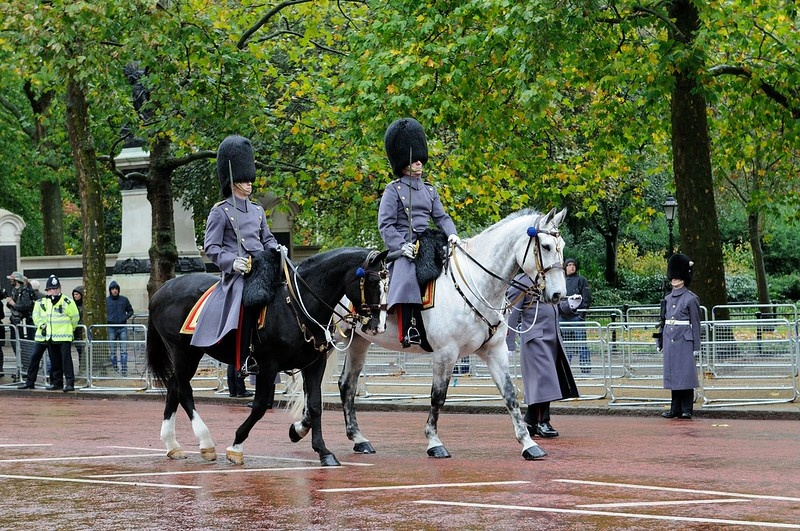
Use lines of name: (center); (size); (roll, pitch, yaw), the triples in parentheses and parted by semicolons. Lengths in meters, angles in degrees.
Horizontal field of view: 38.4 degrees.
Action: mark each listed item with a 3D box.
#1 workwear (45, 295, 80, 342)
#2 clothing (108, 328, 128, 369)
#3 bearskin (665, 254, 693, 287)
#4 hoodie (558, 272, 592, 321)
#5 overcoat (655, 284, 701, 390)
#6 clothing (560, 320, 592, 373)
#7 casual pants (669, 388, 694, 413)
workwear: (-8.566, 1.383, 29.212); (1.221, 1.317, 0.851); (1, -9, -5)
clothing: (-7.115, 2.150, 29.361); (0.552, 1.280, 0.379); (2, -2, 26)
bearskin: (5.641, 0.095, 23.804); (0.605, 0.616, 0.640); (2, -4, 2)
hoodie: (4.242, 0.757, 28.094); (0.485, 1.230, 0.967); (-3, 7, -36)
overcoat: (5.693, 1.491, 23.330); (0.775, 2.094, 0.656); (-3, -3, 12)
clothing: (4.065, 1.871, 26.408); (0.267, 1.015, 1.134); (5, -6, -44)
casual pants: (5.719, 2.789, 23.362); (0.437, 0.533, 0.391); (-3, -3, 11)
